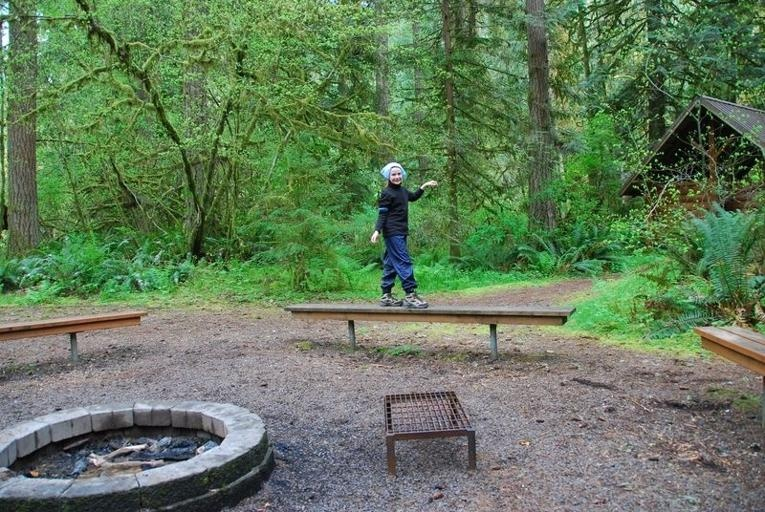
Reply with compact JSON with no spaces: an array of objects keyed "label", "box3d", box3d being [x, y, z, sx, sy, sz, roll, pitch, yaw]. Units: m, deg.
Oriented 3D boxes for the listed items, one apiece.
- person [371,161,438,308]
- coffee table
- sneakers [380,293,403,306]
[{"label":"person","box3d":[0.245,-0.340,10.213,0.861,2.325,1.524,-3,11,3]},{"label":"coffee table","box3d":[0.543,2.068,7.596,1.057,0.544,1.265,-3,10,-2]},{"label":"sneakers","box3d":[0.116,0.724,10.220,0.439,0.271,0.153,0,3,-5]}]
